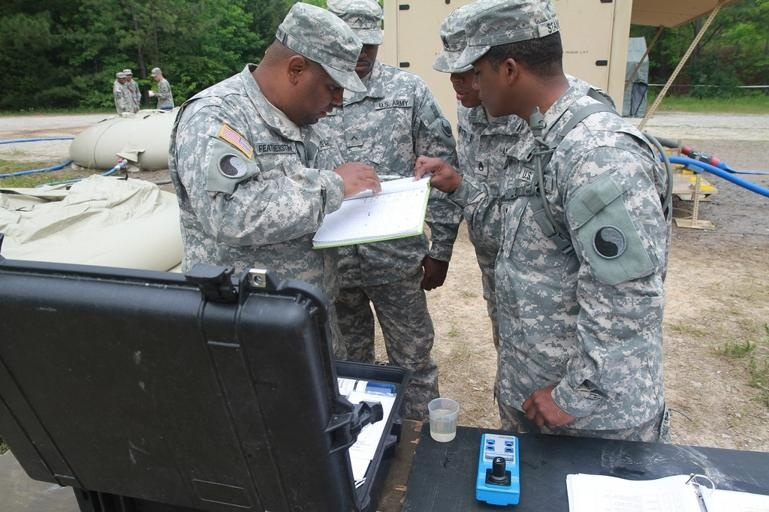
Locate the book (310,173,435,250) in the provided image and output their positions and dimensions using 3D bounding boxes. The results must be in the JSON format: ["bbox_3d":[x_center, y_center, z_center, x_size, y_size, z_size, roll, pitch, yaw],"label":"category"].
[{"bbox_3d":[-0.025,-0.150,3.004,0.378,0.088,0.385,-10,25,24],"label":"book"}]

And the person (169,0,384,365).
[{"bbox_3d":[-0.466,-0.245,2.952,0.889,1.627,0.638,-14,28,-21],"label":"person"}]

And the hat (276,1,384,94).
[{"bbox_3d":[-0.255,-0.863,2.826,0.435,0.210,0.287,31,35,-7],"label":"hat"}]
